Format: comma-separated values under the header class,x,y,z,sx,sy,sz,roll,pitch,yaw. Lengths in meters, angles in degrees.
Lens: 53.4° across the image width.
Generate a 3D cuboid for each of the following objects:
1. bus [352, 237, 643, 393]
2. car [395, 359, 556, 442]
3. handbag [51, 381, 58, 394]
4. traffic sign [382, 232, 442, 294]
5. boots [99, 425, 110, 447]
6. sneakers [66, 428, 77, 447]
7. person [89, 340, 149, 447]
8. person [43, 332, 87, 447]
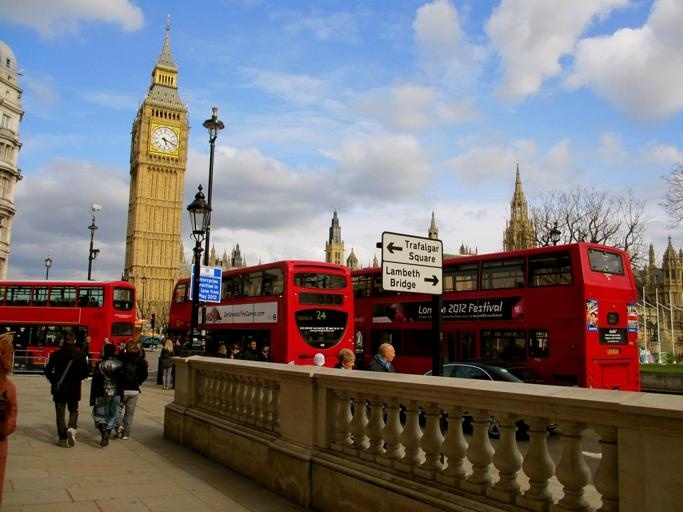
class,x,y,z,sx,sy,sz,roll,pitch,yaw
bus,3.342,1.626,22.204,3.840,5.129,11.915,6,-7,-38
car,2.831,3.197,14.506,1.722,1.346,4.037,7,-7,-41
handbag,-5.165,2.376,12.220,0.085,0.202,0.271,4,-7,-38
traffic sign,0.913,0.113,8.984,0.776,0.550,0.012,5,-7,-34
boots,-4.147,3.129,11.894,0.173,0.575,0.237,3,6,-18
sneakers,-4.729,3.141,11.833,0.169,0.423,0.178,-1,3,2
person,-4.206,2.458,12.486,0.699,1.794,1.124,-2,-6,23
person,-4.888,2.337,12.184,0.635,1.974,0.945,5,-7,-40
